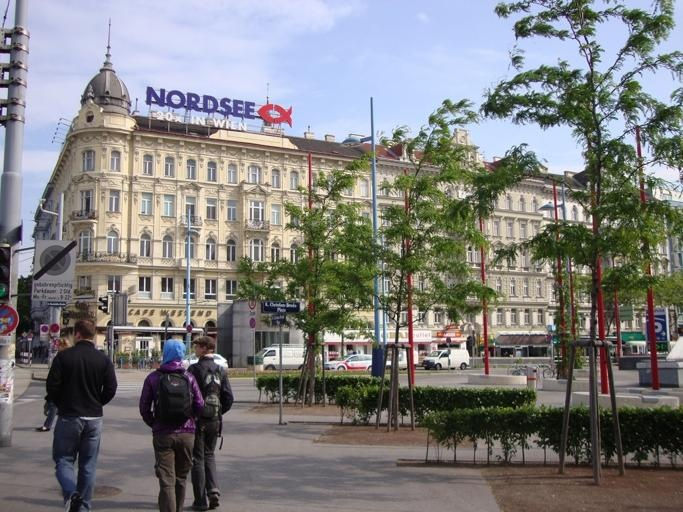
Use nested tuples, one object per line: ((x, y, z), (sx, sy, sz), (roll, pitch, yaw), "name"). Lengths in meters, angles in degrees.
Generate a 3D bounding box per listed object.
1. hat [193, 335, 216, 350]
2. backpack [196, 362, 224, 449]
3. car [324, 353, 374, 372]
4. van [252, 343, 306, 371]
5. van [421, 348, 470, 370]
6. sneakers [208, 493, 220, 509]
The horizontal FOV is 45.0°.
((-2.389, 1.509, 14.489), (0.228, 0.122, 0.307), (13, -3, -37), "hat")
((-2.252, 2.535, 14.520), (0.331, 0.950, 0.651), (-4, -1, -9), "backpack")
((0.763, 7.868, 60.343), (3.089, 1.219, 1.473), (4, -9, -15), "car")
((-4.437, 7.126, 58.755), (2.581, 2.021, 5.058), (-3, -10, 21), "van")
((8.526, 8.253, 65.793), (2.903, 1.341, 1.722), (6, -11, -26), "van")
((-2.185, 4.211, 14.196), (0.108, 0.125, 0.283), (1, -54, -14), "sneakers")
